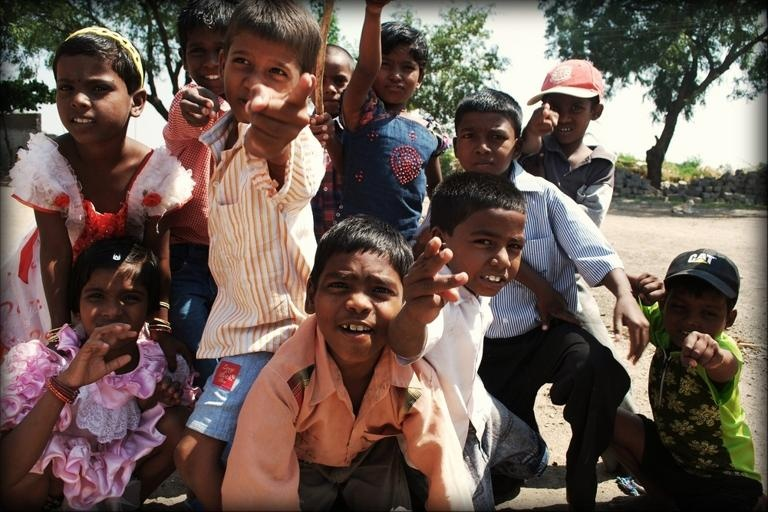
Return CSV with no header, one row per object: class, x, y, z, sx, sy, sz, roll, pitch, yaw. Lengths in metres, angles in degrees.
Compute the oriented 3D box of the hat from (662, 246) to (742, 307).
hat,2.123,0.096,4.248,0.366,0.242,0.483,13,-13,34
